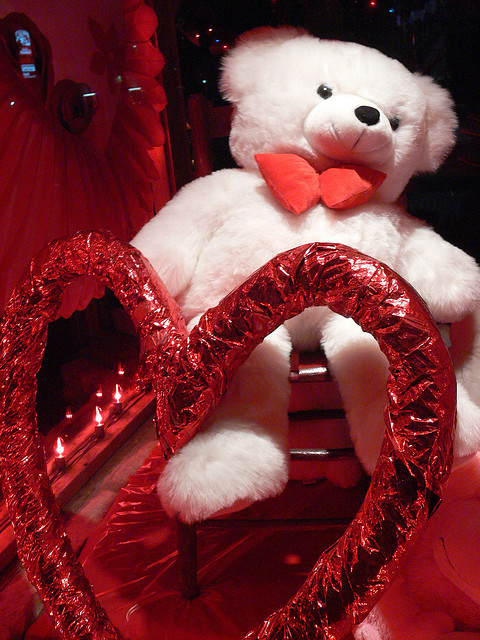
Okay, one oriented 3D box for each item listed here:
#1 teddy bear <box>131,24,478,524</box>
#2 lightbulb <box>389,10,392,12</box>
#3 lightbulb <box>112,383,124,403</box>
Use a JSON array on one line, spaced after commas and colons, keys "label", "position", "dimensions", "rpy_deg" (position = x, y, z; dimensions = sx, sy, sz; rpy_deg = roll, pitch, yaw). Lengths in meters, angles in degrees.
[{"label": "teddy bear", "position": [0.147, -0.132, 0.970], "dimensions": [0.652, 0.336, 0.843], "rpy_deg": [-17, 63, 3]}, {"label": "lightbulb", "position": [0.312, -0.640, 1.085], "dimensions": [0.004, 0.004, 0.002], "rpy_deg": [3, 33, 7]}, {"label": "lightbulb", "position": [-0.350, 0.208, 1.494], "dimensions": [0.035, 0.076, 0.032], "rpy_deg": [0, 31, 0]}]
